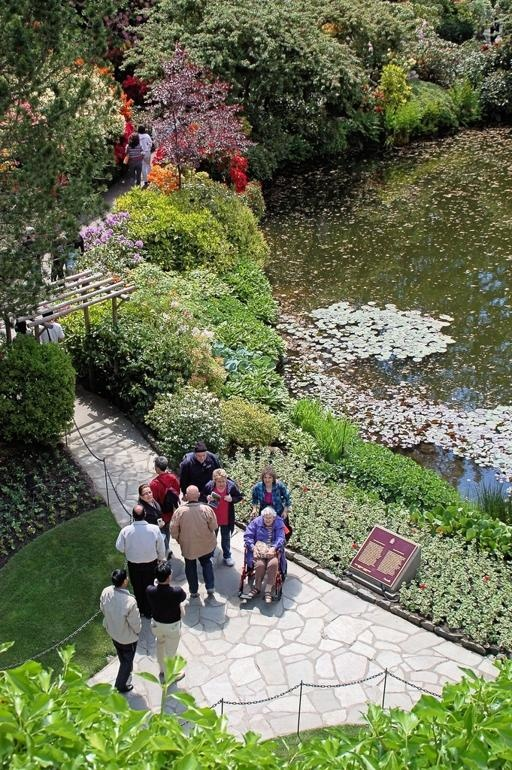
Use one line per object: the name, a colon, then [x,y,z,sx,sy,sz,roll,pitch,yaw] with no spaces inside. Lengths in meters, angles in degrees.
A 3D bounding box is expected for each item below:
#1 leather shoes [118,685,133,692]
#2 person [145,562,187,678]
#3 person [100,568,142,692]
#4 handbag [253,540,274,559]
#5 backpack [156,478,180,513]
leather shoes: [-1.066,2.535,7.729,0.118,0.048,0.038,-30,60,-13]
person: [-0.748,2.020,7.652,0.295,1.079,0.434,3,11,-6]
person: [-1.094,1.994,7.568,0.309,1.169,0.420,2,11,-7]
handbag: [0.087,1.570,8.808,0.146,0.052,0.178,4,12,3]
backpack: [-0.836,1.068,9.177,0.257,0.278,0.233,-8,48,-14]
